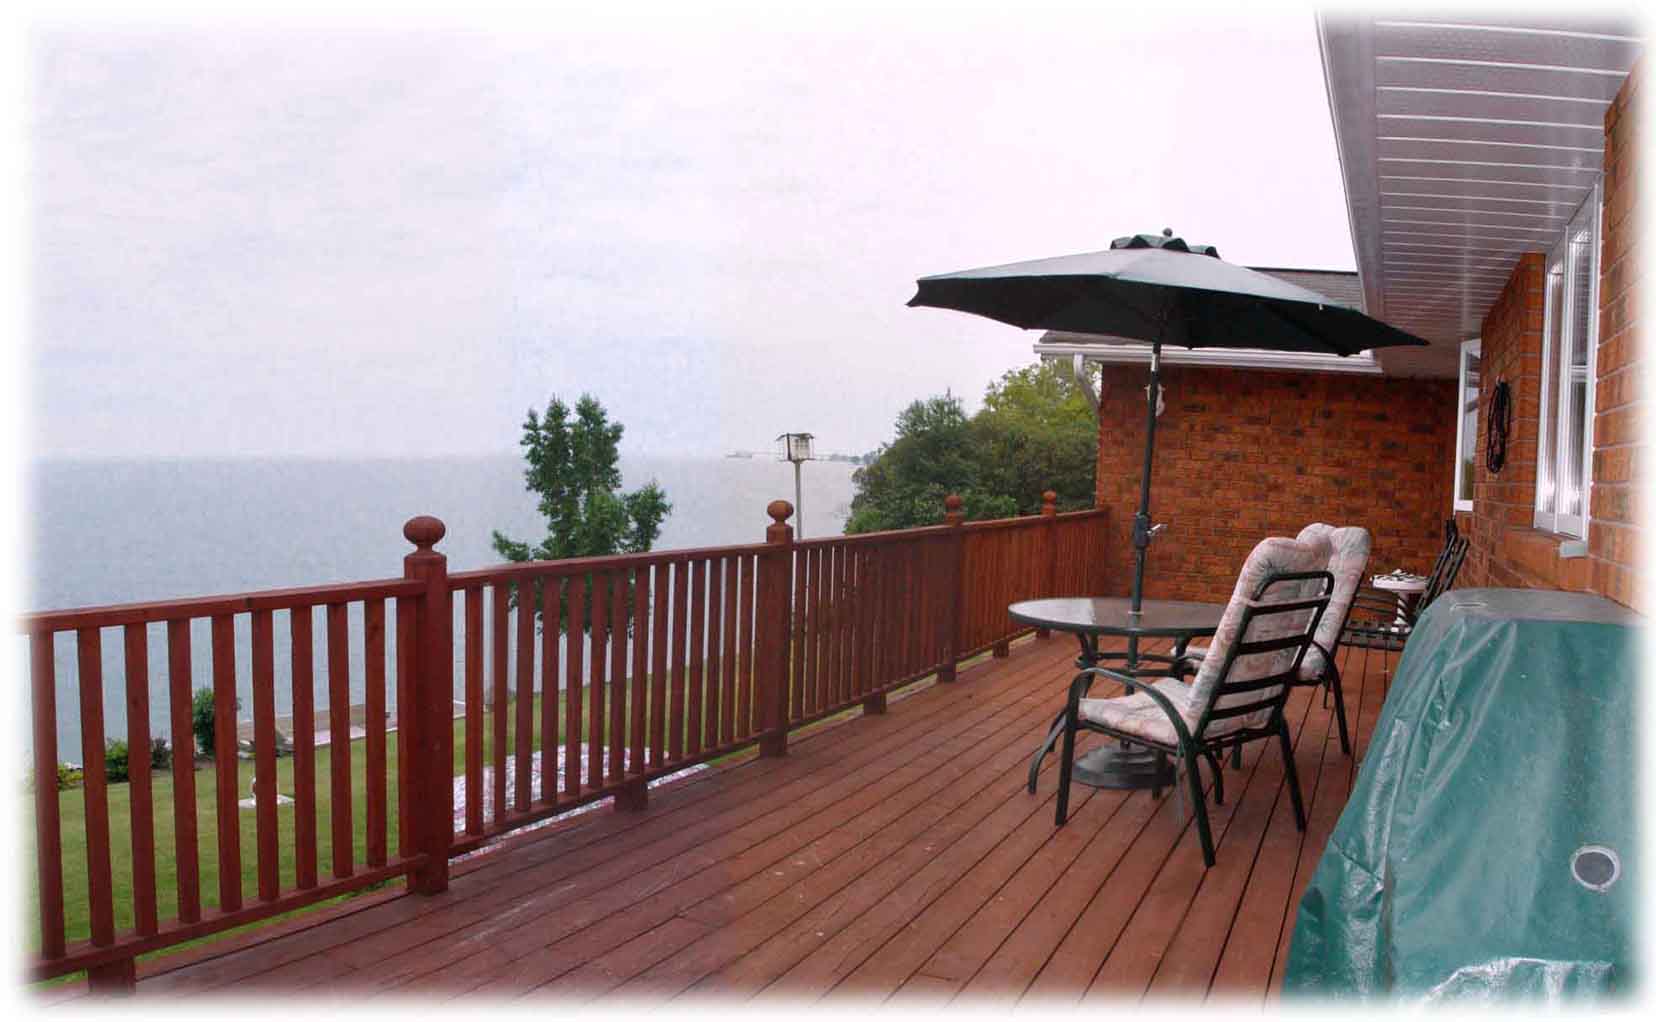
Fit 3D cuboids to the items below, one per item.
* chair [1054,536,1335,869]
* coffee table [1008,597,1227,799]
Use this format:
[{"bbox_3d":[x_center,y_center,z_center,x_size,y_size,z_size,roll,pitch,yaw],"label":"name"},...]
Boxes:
[{"bbox_3d":[1.847,0.880,6.063,1.412,1.574,1.009,1,13,1],"label":"chair"},{"bbox_3d":[1.640,0.864,7.133,0.834,0.805,0.624,-18,-31,23],"label":"coffee table"}]
